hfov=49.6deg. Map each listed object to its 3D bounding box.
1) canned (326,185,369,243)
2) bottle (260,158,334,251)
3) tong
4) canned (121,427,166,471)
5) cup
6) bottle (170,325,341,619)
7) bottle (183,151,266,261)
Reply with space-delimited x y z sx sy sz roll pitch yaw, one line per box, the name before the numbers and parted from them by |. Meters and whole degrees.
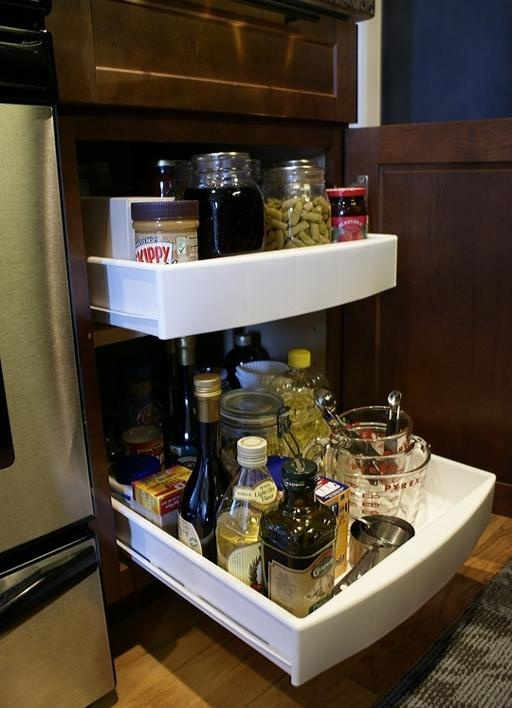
canned | 0.131 -0.203 0.796 0.071 0.081 0.070 -8 18 -19
bottle | 0.059 -0.184 0.795 0.112 0.129 0.087 -8 -22 32
tong | 0.146 0.114 0.812 0.151 0.160 0.093 -10 24 -10
canned | -0.170 0.137 0.847 0.049 0.059 0.058 -9 19 -29
cup | 0.170 0.155 0.829 0.189 0.204 0.127 -1 16 8
bottle | -0.014 0.128 0.665 0.174 0.234 0.319 -4 12 -4
bottle | -0.051 -0.192 0.705 0.111 0.140 0.117 -5 23 2
